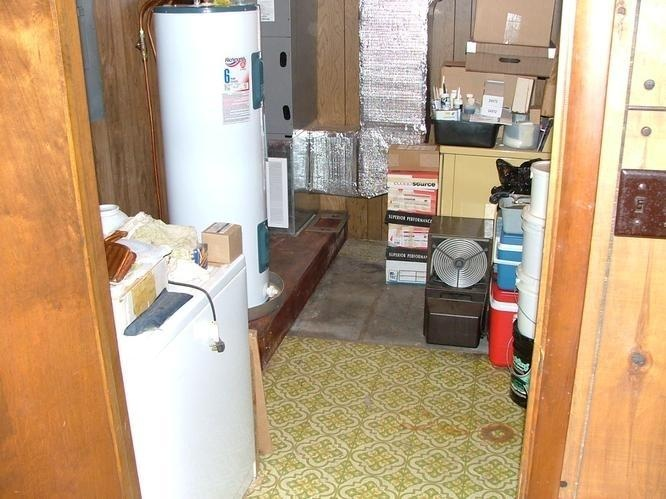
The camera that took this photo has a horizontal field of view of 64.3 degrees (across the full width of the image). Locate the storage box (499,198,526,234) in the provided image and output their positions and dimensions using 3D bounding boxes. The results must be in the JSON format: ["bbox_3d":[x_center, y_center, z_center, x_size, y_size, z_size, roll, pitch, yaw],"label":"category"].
[{"bbox_3d":[1.183,-0.208,3.466,0.164,0.155,0.243,3,13,19],"label":"storage box"}]

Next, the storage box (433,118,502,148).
[{"bbox_3d":[1.049,-0.903,4.144,0.367,0.133,0.269,5,24,11],"label":"storage box"}]

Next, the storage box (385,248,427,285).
[{"bbox_3d":[0.654,0.157,4.694,0.345,0.330,0.301,-2,-11,6],"label":"storage box"}]

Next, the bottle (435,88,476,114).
[{"bbox_3d":[0.965,-1.180,4.219,0.296,0.315,0.227,-13,22,-32],"label":"bottle"}]

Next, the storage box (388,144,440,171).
[{"bbox_3d":[0.674,-0.757,4.510,0.343,0.151,0.239,3,28,10],"label":"storage box"}]
